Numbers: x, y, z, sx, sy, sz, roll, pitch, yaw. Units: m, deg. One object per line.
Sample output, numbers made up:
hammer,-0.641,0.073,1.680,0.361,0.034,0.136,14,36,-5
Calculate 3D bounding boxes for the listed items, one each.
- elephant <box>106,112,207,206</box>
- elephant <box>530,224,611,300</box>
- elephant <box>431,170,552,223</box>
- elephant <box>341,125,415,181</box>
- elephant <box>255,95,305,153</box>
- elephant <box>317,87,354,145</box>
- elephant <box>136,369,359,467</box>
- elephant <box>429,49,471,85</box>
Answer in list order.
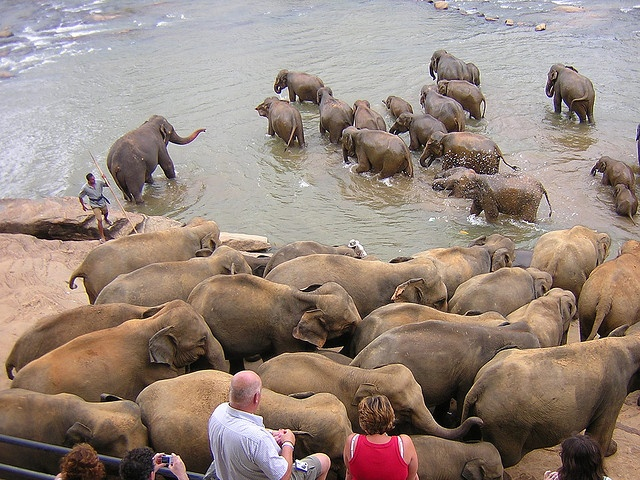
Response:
elephant,-3.222,-1.529,12.168,0.560,1.117,1.672,10,35,24
elephant,3.573,0.176,9.531,0.661,1.031,1.418,28,57,33
elephant,3.116,-0.735,11.234,1.485,0.728,0.516,6,32,18
elephant,1.169,-1.848,12.928,0.719,1.001,1.684,-26,44,-34
elephant,-0.717,-2.662,14.008,0.625,0.909,1.648,-15,41,-19
elephant,0.240,-2.857,14.372,0.513,0.811,1.509,-10,46,-6
elephant,-0.688,1.798,6.843,2.126,1.271,0.928,8,52,6
elephant,3.181,-4.301,16.244,0.519,0.744,1.407,-13,39,-9
